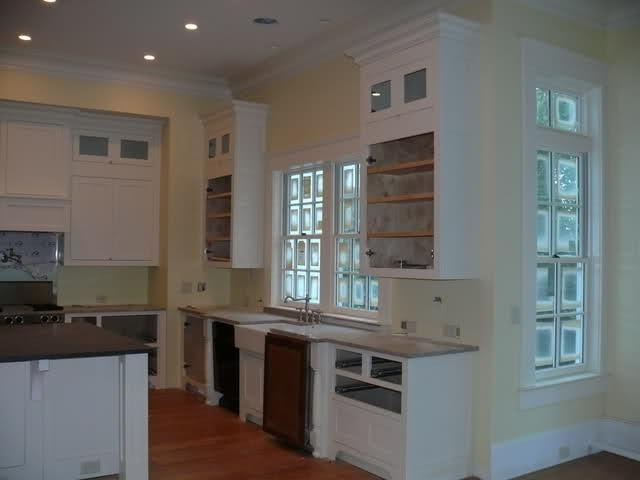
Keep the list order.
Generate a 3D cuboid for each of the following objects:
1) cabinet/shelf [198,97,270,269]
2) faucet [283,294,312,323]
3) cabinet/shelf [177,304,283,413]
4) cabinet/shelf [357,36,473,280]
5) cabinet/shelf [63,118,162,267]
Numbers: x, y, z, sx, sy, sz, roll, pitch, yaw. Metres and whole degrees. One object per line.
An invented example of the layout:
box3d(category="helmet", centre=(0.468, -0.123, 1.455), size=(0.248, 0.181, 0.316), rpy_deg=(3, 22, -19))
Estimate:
box3d(category="cabinet/shelf", centre=(-1.076, -0.639, 6.109), size=(0.918, 1.652, 0.391), rpy_deg=(-1, 0, 37))
box3d(category="faucet", centre=(-0.163, 0.699, 5.177), size=(0.298, 0.347, 0.255), rpy_deg=(4, -4, -35))
box3d(category="cabinet/shelf", centre=(-1.009, 1.344, 5.828), size=(0.805, 1.060, 1.582), rpy_deg=(-1, 1, -44))
box3d(category="cabinet/shelf", centre=(0.750, -0.651, 4.211), size=(0.529, 1.868, 0.982), rpy_deg=(-2, 5, -38))
box3d(category="cabinet/shelf", centre=(-2.635, -0.595, 6.526), size=(1.173, 1.866, 0.550), rpy_deg=(2, 3, -9))
